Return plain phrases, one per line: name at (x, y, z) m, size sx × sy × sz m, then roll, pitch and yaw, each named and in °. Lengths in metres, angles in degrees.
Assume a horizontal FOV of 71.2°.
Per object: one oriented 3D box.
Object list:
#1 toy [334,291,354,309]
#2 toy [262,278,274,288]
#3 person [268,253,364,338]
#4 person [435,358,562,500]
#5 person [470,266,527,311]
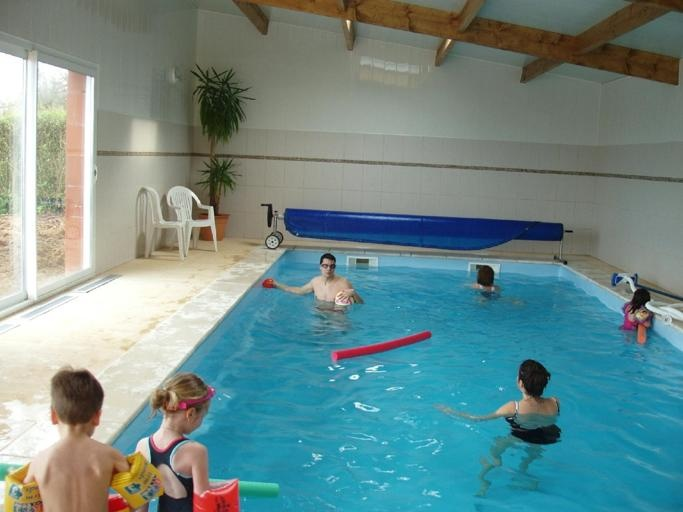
toy at (0.037, 0.572, 6.264) m, size 0.212 × 0.183 × 0.167 m, roll -4°, pitch 10°, yaw 16°
toy at (-1.045, 0.389, 6.835) m, size 0.111 × 0.105 × 0.131 m, roll 1°, pitch -2°, yaw 4°
person at (-0.358, 0.733, 6.418) m, size 1.134 × 1.548 × 0.486 m, roll -8°, pitch 21°, yaw -14°
person at (1.455, 1.306, 3.927) m, size 0.862 × 1.197 × 0.707 m, roll -9°, pitch 18°, yaw 14°
person at (2.283, 0.426, 7.436) m, size 1.038 × 0.531 × 0.643 m, roll 8°, pitch 13°, yaw 26°
